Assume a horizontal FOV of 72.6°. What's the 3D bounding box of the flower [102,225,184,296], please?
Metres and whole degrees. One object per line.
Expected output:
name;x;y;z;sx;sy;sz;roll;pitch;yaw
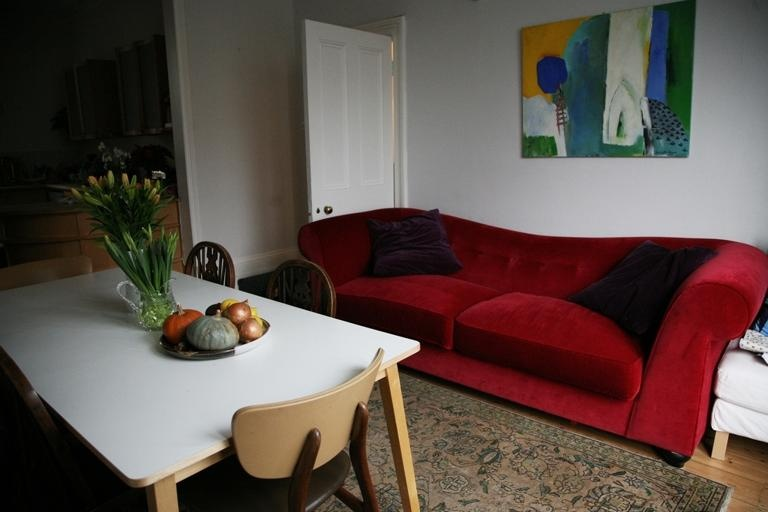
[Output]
flower;-1.157;0.027;2.615;0.345;0.359;0.313;-19;6;-37

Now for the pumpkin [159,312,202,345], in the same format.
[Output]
pumpkin;-0.901;0.292;2.315;0.147;0.143;0.149;-17;2;-10

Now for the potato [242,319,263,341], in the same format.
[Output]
potato;-0.595;0.339;2.349;0.085;0.092;0.050;8;-13;5

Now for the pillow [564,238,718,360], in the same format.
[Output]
pillow;1.587;0.225;3.271;0.621;0.543;0.598;-9;13;-27

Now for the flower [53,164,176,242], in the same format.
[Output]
flower;-1.275;-0.214;2.625;0.450;0.343;0.446;-17;-9;8

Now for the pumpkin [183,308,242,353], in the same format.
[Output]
pumpkin;-0.743;0.297;2.252;0.163;0.125;0.165;13;17;34
